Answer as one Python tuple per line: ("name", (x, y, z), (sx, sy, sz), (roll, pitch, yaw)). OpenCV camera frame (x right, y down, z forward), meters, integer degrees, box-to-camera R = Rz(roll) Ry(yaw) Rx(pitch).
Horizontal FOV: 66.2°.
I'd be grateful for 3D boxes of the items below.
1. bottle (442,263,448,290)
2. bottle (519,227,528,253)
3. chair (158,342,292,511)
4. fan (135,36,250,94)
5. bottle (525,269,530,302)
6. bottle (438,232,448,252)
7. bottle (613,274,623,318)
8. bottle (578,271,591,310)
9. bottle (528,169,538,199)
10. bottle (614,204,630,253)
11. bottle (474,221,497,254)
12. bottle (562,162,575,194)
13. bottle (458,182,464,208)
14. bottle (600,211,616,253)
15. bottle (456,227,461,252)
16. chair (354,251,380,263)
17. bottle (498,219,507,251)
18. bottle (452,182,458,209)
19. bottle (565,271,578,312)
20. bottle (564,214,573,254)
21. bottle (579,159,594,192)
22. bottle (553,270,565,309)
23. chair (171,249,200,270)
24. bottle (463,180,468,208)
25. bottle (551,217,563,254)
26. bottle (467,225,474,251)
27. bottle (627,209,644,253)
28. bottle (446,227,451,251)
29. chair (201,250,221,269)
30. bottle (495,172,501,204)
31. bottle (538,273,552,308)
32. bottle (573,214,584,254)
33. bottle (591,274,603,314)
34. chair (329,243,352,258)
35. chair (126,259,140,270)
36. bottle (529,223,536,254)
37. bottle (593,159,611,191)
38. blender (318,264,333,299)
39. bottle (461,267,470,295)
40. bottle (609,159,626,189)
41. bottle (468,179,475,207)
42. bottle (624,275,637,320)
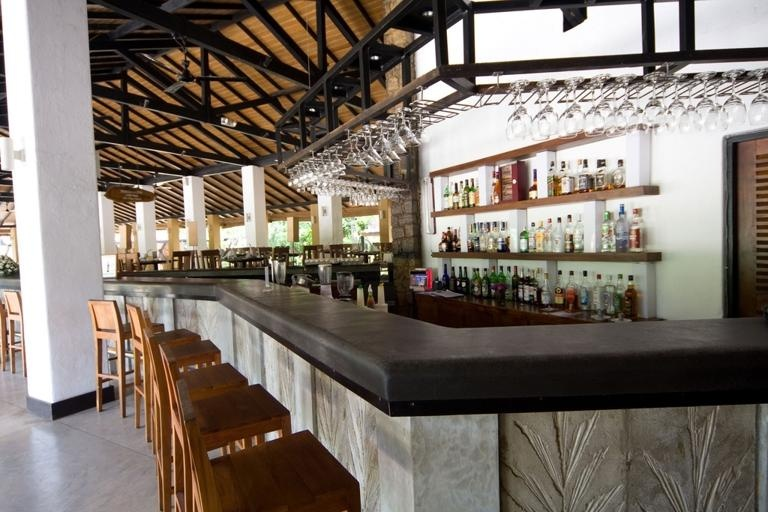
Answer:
("bottle", (0.644, 0.213, 6.266), (0.071, 0.263, 0.301), (-4, 2, 6))
("bottle", (1.243, -0.138, 5.268), (0.053, 0.189, 0.118), (-6, 3, -35))
("chair", (-0.924, 0.996, 3.363), (0.433, 0.729, 1.167), (-5, 7, -27))
("fan", (-2.966, -2.952, 8.972), (1.388, 0.469, 1.329), (-4, 11, -17))
("bottle", (1.291, 0.260, 5.326), (0.065, 0.283, 0.289), (-4, 2, 13))
("bottle", (0.626, -0.153, 6.284), (0.089, 0.199, 0.205), (-4, 2, 0))
("bottle", (1.887, 0.297, 4.705), (0.087, 0.301, 0.178), (-4, 2, 21))
("bottle", (1.691, 0.299, 4.959), (0.101, 0.291, 0.254), (-4, 2, 18))
("bottle", (1.330, -0.635, 5.244), (0.083, 0.262, 0.309), (-4, 2, 14))
("bottle", (1.881, -0.222, 4.656), (0.105, 0.365, 0.224), (-3, 2, 25))
("bottle", (0.991, -0.177, 5.737), (0.147, 0.426, 0.309), (3, -4, -20))
("bottle", (1.553, -0.670, 4.966), (0.118, 0.279, 0.159), (-4, 2, 16))
("bottle", (0.796, -0.646, 6.117), (0.059, 0.281, 0.374), (-4, 2, 9))
("bottle", (1.789, -0.199, 4.715), (0.118, 0.307, 0.071), (-3, 3, 30))
("bottle", (0.783, -0.170, 6.170), (0.038, 0.221, 0.059), (-2, 3, 45))
("chair", (-0.303, 0.010, 9.113), (0.298, 0.264, 0.295), (-4, 5, -39))
("bottle", (1.120, -0.191, 5.573), (0.103, 0.284, 0.261), (-4, 2, 12))
("bottle", (0.728, -0.616, 6.038), (0.081, 0.258, 0.164), (-4, 2, 6))
("bottle", (1.591, 0.308, 5.004), (0.103, 0.272, 0.348), (-4, 2, 17))
("bottle", (1.584, -0.197, 5.045), (0.092, 0.305, 0.215), (-4, 2, 17))
("bottle", (1.666, -0.665, 4.866), (0.123, 0.260, 0.131), (-4, 2, 0))
("bottle", (1.525, 0.278, 5.135), (0.101, 0.299, 0.247), (-4, 2, 16))
("chair", (-3.683, 0.069, 10.807), (0.423, 0.647, 0.495), (-1, 6, -25))
("bottle", (0.845, -0.653, 6.023), (0.059, 0.297, 0.305), (-4, 2, 10))
("bottle", (1.507, -0.167, 5.109), (0.107, 0.246, 0.173), (-4, 2, 16))
("bottle", (0.870, -0.187, 5.898), (0.076, 0.271, 0.185), (-4, 2, 0))
("bottle", (1.986, -0.209, 4.644), (0.103, 0.332, 0.133), (-3, 3, 38))
("bottle", (0.693, -0.177, 6.262), (0.059, 0.232, 0.135), (-4, 2, 16))
("chair", (-3.272, 0.062, 10.950), (0.301, 0.441, 0.319), (1, 19, -7))
("bottle", (1.053, -0.641, 5.486), (0.049, 0.283, 0.088), (-5, 2, -8))
("bottle", (1.420, 0.284, 5.184), (0.097, 0.280, 0.284), (-4, 2, 17))
("bottle", (1.649, -0.199, 4.983), (0.084, 0.311, 0.223), (-4, 2, 18))
("bottle", (1.740, 0.302, 4.795), (0.089, 0.312, 0.363), (-4, 2, 20))
("chair", (-0.877, -0.106, 11.229), (0.367, 0.171, 1.473), (-4, 2, -6))
("chair", (-4.131, 0.140, 9.547), (0.131, 0.206, 0.185), (0, 1, 4))
("bottle", (1.335, -0.178, 5.295), (0.067, 0.262, 0.240), (-4, 2, 15))
("bottle", (1.758, -0.662, 4.766), (0.122, 0.248, 0.152), (-3, 3, 33))
("blender", (-0.475, 0.185, 4.649), (0.091, 0.184, 0.227), (-5, 2, -7))
("bottle", (0.832, 0.247, 6.035), (0.076, 0.259, 0.278), (-4, 2, 8))
("bottle", (1.873, -0.667, 4.712), (0.114, 0.224, 0.069), (-3, 3, 22))
("bottle", (0.887, -0.654, 5.976), (0.062, 0.294, 0.304), (-4, 2, 9))
("bottle", (1.938, 0.322, 4.616), (0.105, 0.332, 0.174), (-3, 2, 26))
